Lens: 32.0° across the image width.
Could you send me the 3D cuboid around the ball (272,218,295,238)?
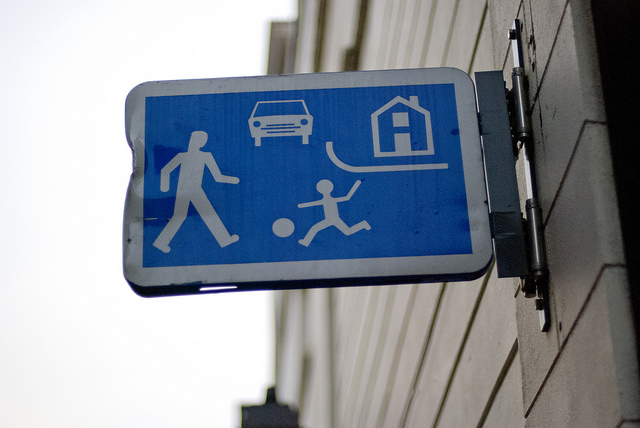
[{"bbox_3d":[-0.174,0.066,5.257,0.101,0.072,0.057,-2,18,-2],"label":"ball"}]
